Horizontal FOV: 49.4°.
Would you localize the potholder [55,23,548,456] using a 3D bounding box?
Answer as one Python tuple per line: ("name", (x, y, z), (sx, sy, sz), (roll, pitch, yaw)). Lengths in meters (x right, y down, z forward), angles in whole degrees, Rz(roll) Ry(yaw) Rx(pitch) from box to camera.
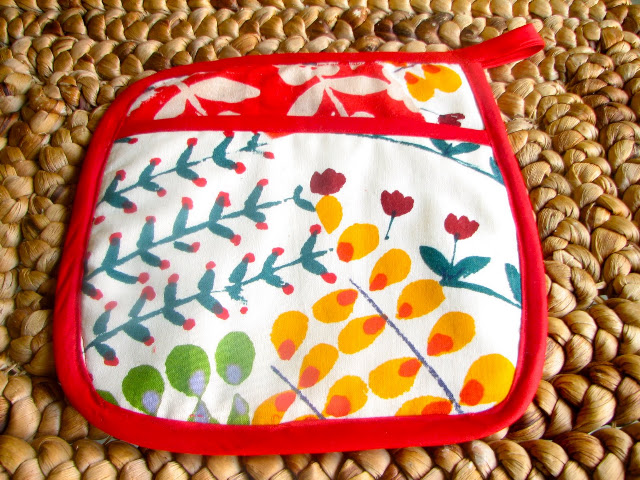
("potholder", (-0.022, -0.021, 0.872), (0.593, 0.077, 0.552), (0, 79, 1))
